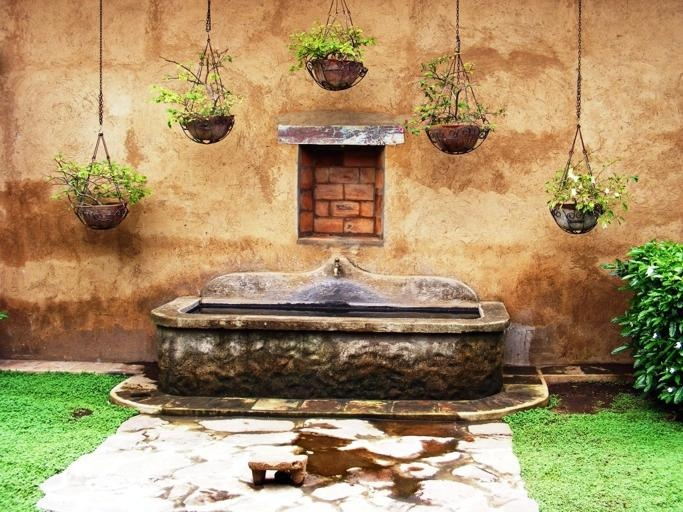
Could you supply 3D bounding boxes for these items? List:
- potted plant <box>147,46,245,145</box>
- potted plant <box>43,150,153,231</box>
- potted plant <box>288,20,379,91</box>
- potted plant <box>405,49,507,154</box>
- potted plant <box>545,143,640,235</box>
[{"bbox_3d":[-1.458,-1.609,6.954,0.843,1.054,0.793,0,1,-6],"label":"potted plant"},{"bbox_3d":[-2.325,-0.575,6.916,0.906,0.430,0.544,0,8,-5],"label":"potted plant"},{"bbox_3d":[-0.168,-1.874,6.588,0.917,0.523,0.851,-3,5,-33],"label":"potted plant"},{"bbox_3d":[1.075,-1.498,6.740,0.922,1.104,0.846,0,1,4],"label":"potted plant"},{"bbox_3d":[2.201,-0.588,6.470,0.793,0.702,0.620,-7,11,-34],"label":"potted plant"}]
